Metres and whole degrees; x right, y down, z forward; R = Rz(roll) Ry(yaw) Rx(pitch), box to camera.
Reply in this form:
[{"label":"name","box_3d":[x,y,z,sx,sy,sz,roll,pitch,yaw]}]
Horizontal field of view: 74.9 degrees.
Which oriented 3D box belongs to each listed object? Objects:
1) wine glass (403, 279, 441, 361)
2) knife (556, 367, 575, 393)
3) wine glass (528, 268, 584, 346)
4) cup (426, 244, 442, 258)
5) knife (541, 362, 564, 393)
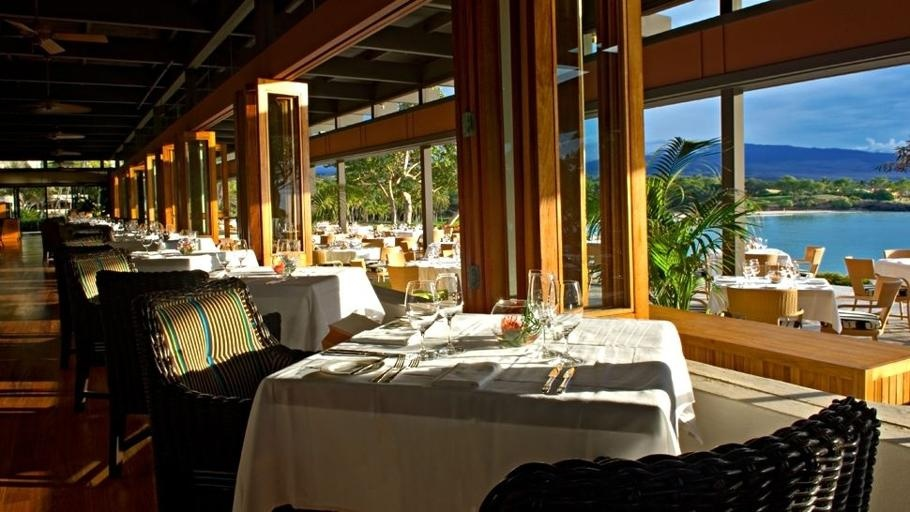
[{"label":"wine glass","box_3d":[-0.189,0.351,3.425,0.175,0.417,0.345,-2,2,-5]},{"label":"knife","box_3d":[0.556,0.636,3.049,0.048,0.026,0.237,3,15,16]},{"label":"wine glass","box_3d":[0.554,0.296,3.370,0.287,0.437,0.238,-2,3,4]},{"label":"cup","box_3d":[-0.351,-0.118,9.902,0.292,0.258,0.280,1,7,0]},{"label":"knife","box_3d":[0.497,0.622,3.052,0.055,0.033,0.256,8,19,14]}]
